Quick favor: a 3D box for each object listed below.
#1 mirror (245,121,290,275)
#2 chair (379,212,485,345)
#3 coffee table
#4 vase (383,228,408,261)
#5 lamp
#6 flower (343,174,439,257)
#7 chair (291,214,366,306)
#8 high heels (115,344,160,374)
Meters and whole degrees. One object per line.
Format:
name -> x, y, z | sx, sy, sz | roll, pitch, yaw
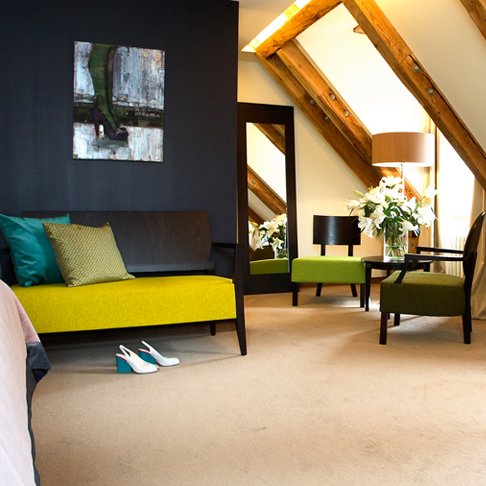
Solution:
mirror -> 0.230, -0.419, 4.250 | 0.420, 1.447, 0.231 | -1, 4, -15
chair -> 1.167, 0.167, 2.925 | 0.657, 1.139, 0.704 | 1, -1, 16
coffee table -> 1.068, 0.259, 3.264 | 0.440, 0.408, 0.477 | 1, 0, -9
vase -> 1.108, 0.007, 3.253 | 0.152, 0.219, 0.172 | 0, -3, 4
lamp -> 1.290, -0.527, 3.557 | 0.364, 0.738, 0.401 | 1, 1, -15
flower -> 1.095, -0.146, 3.254 | 0.481, 0.628, 0.441 | -3, 0, 38
chair -> 0.776, 0.135, 3.873 | 0.561, 0.926, 0.652 | 1, -7, 11
high heels -> -0.529, 0.567, 2.192 | 0.208, 0.181, 0.110 | 2, -3, -2
